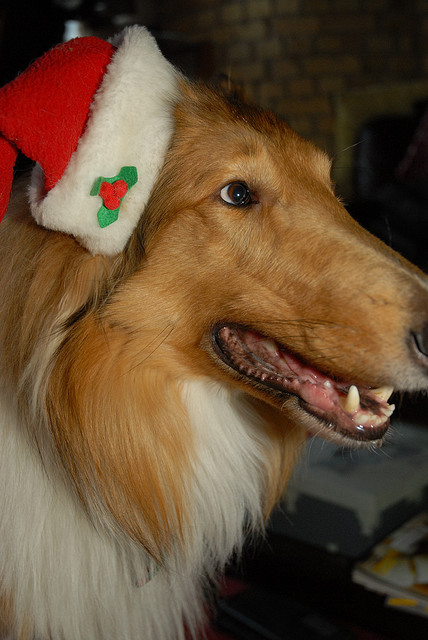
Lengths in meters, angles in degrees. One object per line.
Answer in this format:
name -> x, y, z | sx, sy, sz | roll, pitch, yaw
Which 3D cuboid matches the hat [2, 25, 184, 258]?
hat -> -0.232, -0.373, 1.236 | 0.275, 0.270, 0.458 | 11, 60, 8
